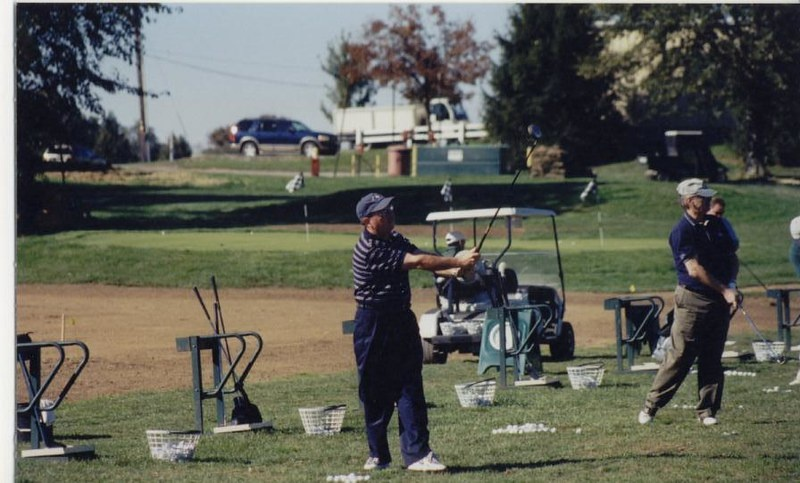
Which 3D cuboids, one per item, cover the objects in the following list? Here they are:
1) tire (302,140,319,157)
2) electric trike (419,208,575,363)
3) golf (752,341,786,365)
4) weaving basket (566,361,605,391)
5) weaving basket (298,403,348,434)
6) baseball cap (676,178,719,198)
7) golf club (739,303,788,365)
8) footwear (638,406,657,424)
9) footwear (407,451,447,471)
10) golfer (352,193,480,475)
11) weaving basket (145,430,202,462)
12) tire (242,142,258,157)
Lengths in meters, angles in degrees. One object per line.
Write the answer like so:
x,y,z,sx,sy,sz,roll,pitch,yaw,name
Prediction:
-1.790,-1.773,37.044,0.291,0.302,0.069,2,12,11,tire
1.833,0.901,36.125,2.067,2.966,3.303,0,3,32,electric trike
6.816,2.049,35.246,0.377,0.365,0.482,3,3,34,golf
3.265,2.399,34.029,0.507,0.329,0.430,-2,-1,15,weaving basket
-1.358,3.024,32.590,0.645,0.410,0.453,1,-7,-22,weaving basket
4.954,-0.870,32.148,0.564,0.253,0.379,2,4,1,baseball cap
6.720,1.984,35.434,0.823,1.744,0.831,1,1,22,golf club
4.125,2.914,32.226,0.296,0.309,0.214,-6,11,-19,footwear
0.422,3.572,31.042,0.645,0.306,0.263,-2,-5,14,footwear
0.216,1.542,31.160,2.187,4.514,1.708,0,-2,11,golfer
-3.841,3.402,31.900,0.629,0.337,0.543,4,-12,-10,weaving basket
-2.902,-1.755,36.527,0.335,0.281,0.228,-3,2,-12,tire
